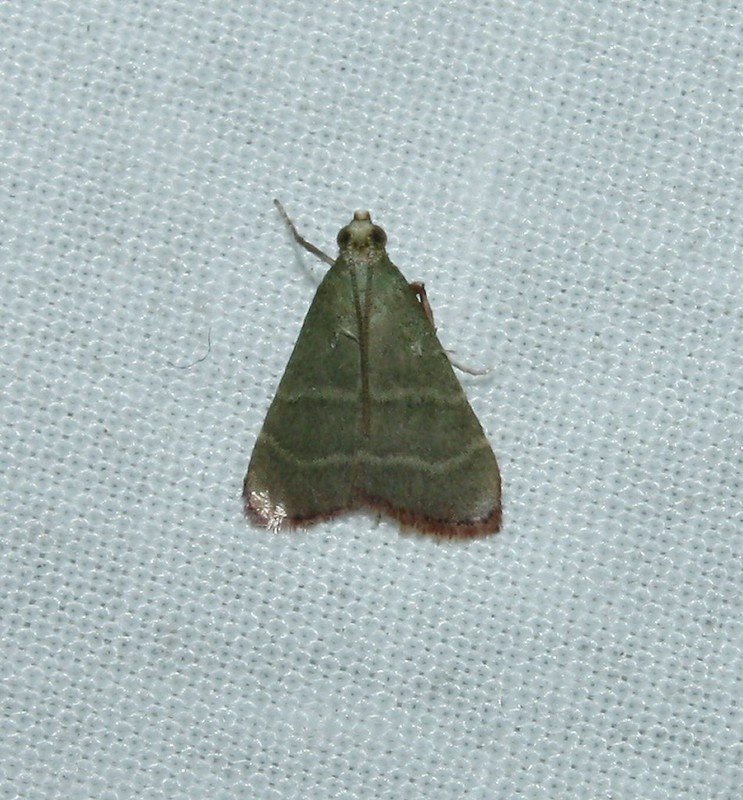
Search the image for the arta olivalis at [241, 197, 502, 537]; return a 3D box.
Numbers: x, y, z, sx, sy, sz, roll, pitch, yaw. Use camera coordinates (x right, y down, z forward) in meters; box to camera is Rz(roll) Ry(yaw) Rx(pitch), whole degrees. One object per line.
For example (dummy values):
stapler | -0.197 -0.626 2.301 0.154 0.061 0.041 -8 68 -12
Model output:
arta olivalis | 0.010 -0.054 3.032 0.529 0.081 0.654 2 83 -1
